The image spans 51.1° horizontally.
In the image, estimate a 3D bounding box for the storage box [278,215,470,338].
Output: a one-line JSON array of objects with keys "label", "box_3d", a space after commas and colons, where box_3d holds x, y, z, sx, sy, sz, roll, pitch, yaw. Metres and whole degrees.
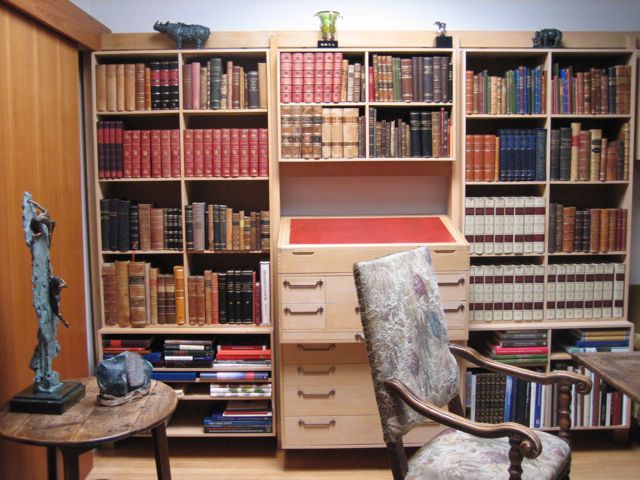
[{"label": "storage box", "box_3d": [0.305, 0.212, 4.348, 1.267, 0.525, 0.540, -2, 27, -6]}]
